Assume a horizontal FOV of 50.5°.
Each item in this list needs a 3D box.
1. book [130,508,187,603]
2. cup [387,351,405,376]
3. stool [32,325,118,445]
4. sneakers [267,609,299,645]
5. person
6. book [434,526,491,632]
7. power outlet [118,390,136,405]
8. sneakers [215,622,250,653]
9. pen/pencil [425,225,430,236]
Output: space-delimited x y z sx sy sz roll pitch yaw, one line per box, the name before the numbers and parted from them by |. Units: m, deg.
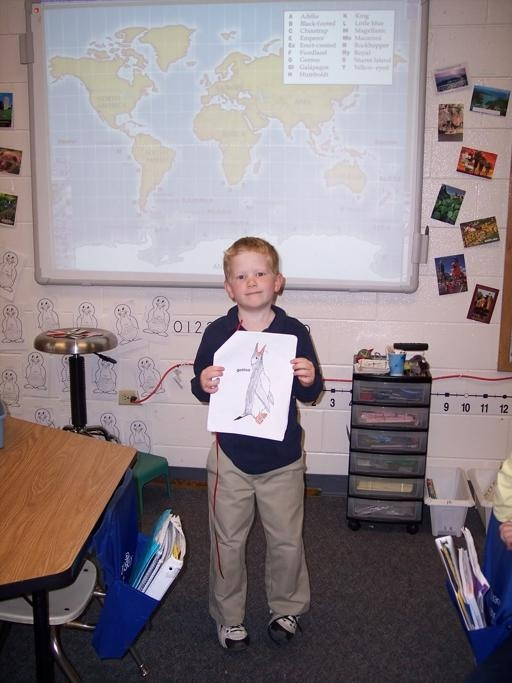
book | -0.195 0.449 1.176 0.061 0.133 0.180 18 27 -4
cup | 0.571 0.089 2.220 0.064 0.089 0.071 3 11 12
stool | -0.783 0.231 2.399 0.323 0.496 0.312 -4 3 -33
sneakers | 0.088 0.884 1.670 0.052 0.055 0.114 16 14 0
person | -0.007 0.318 1.630 0.384 1.236 0.346 2 11 6
book | 0.458 0.517 1.202 0.062 0.200 0.150 -11 -19 7
power outlet | -0.633 0.272 2.680 0.073 0.064 0.010 1 4 2
sneakers | -0.069 0.892 1.635 0.045 0.056 0.124 3 -19 -8
pen/pencil | 0.752 -0.489 2.389 0.018 0.043 0.020 0 11 -5
